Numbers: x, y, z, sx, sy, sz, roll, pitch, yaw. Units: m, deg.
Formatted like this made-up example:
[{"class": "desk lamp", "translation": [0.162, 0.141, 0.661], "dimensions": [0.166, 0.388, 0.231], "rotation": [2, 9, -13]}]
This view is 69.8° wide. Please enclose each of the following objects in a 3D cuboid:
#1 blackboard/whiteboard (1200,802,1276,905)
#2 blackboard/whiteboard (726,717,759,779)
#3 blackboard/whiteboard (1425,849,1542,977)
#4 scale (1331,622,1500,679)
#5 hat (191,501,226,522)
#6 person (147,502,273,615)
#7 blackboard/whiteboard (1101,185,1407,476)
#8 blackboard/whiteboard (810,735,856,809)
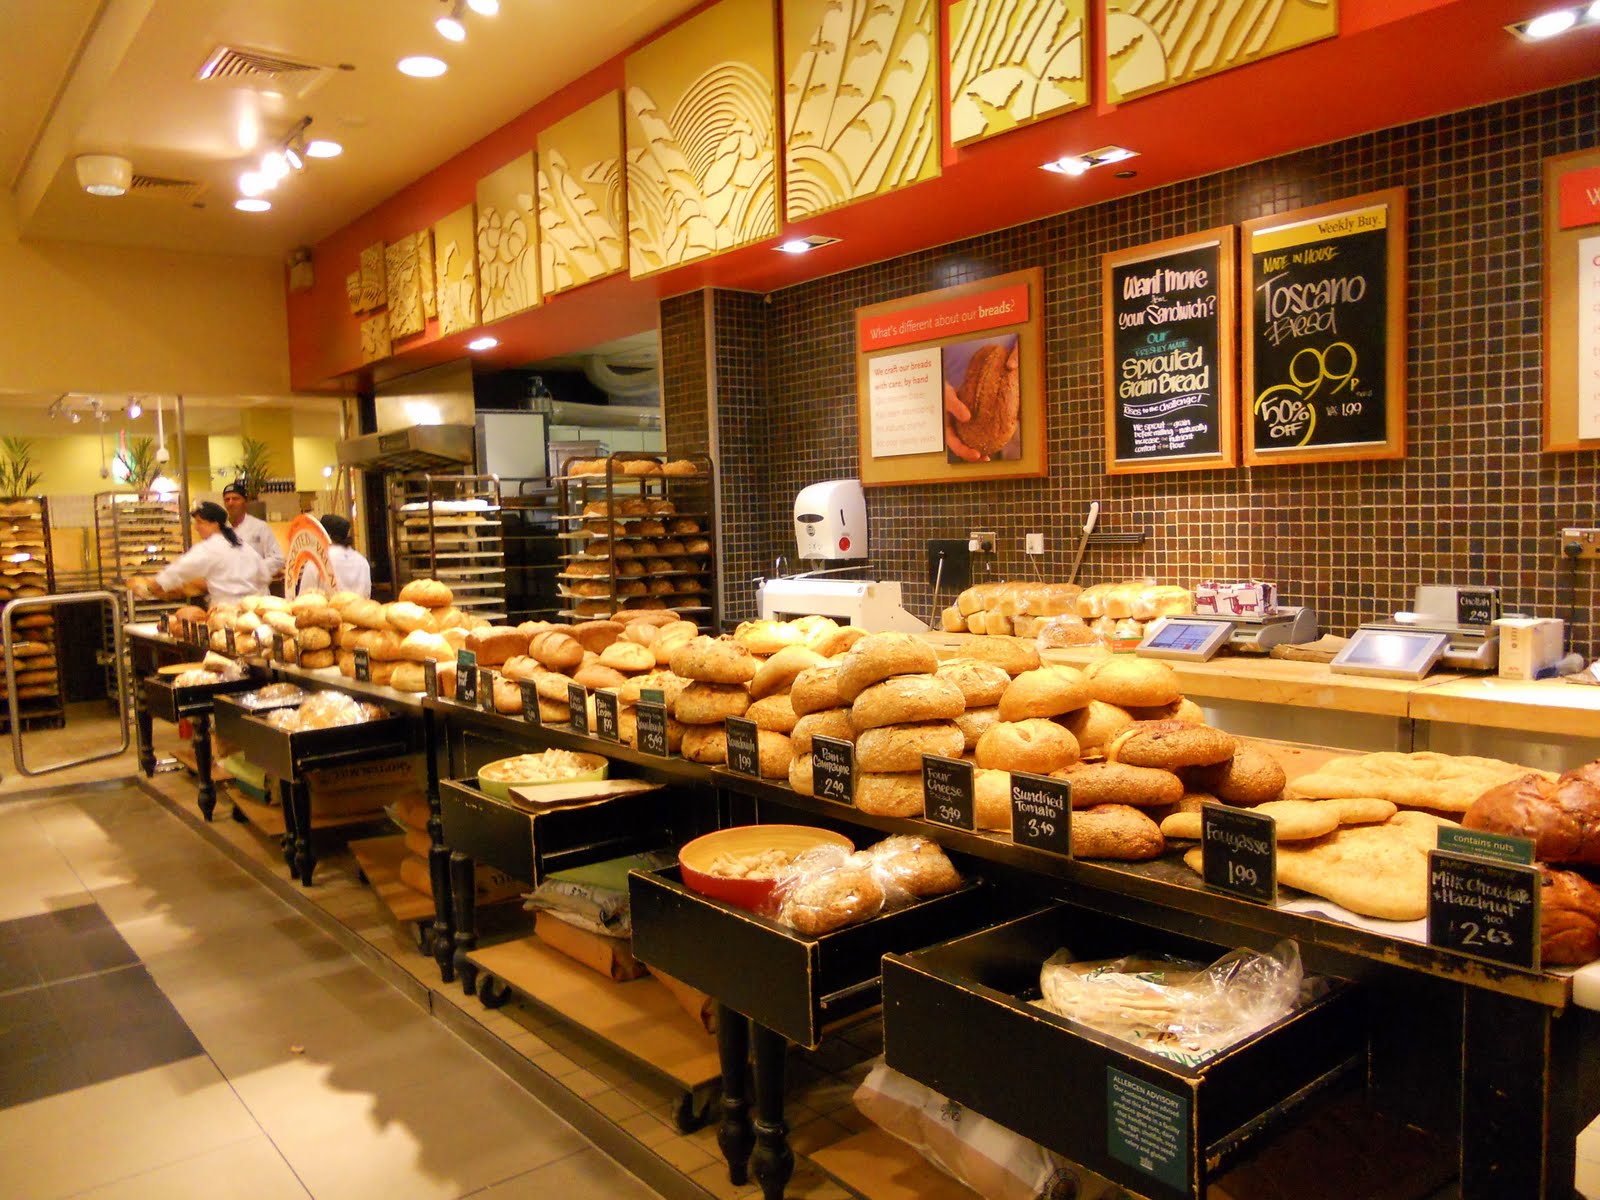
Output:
[{"class": "blackboard/whiteboard", "translation": [0.784, 0.461, 2.064], "dimensions": [0.022, 0.192, 0.184], "rotation": [0, 2, -40]}, {"class": "blackboard/whiteboard", "translation": [-0.146, 0.370, 2.898], "dimensions": [0.006, 0.153, 0.163], "rotation": [-3, 4, -36]}, {"class": "blackboard/whiteboard", "translation": [1.089, 0.495, 1.824], "dimensions": [0.220, 0.214, 0.030], "rotation": [6, 9, 43]}, {"class": "scale", "translation": [2.036, 0.165, 3.830], "dimensions": [0.258, 0.067, 0.268], "rotation": [-11, 10, -39]}, {"class": "hat", "translation": [-4.086, -0.599, 7.886], "dimensions": [0.205, 0.100, 0.145], "rotation": [19, 16, 20]}, {"class": "person", "translation": [-4.337, -0.302, 8.392], "dimensions": [0.572, 0.878, 0.674], "rotation": [24, 23, 11]}, {"class": "blackboard/whiteboard", "translation": [1.802, -1.065, 4.473], "dimensions": [0.056, 0.929, 1.344], "rotation": [-2, 2, -44]}, {"class": "blackboard/whiteboard", "translation": [0.077, 0.390, 2.643], "dimensions": [0.019, 0.172, 0.183], "rotation": [-3, 3, -36]}]
